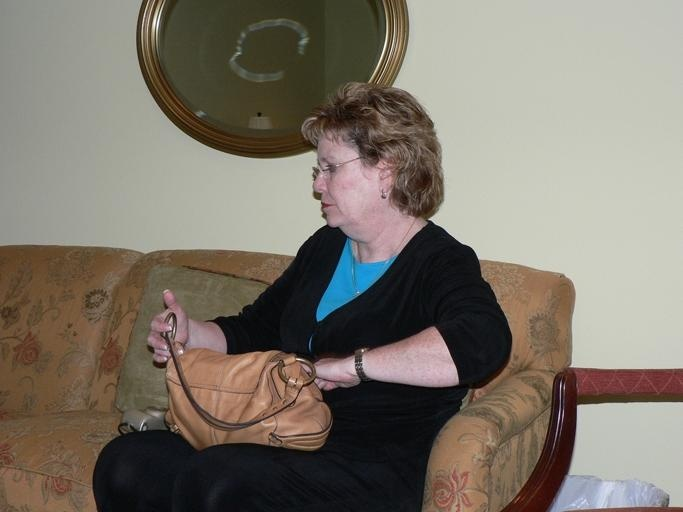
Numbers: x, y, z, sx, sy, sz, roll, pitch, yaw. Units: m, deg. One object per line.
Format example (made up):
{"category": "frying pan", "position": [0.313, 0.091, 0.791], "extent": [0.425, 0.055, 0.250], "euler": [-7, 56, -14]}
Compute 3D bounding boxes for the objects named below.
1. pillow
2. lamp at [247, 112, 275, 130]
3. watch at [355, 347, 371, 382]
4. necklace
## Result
{"category": "pillow", "position": [-0.539, 0.307, 2.159], "extent": [0.497, 0.491, 0.155], "euler": [-16, -20, 31]}
{"category": "lamp", "position": [-0.320, -0.530, 2.407], "extent": [0.071, 0.048, 0.077], "euler": [0, 5, 6]}
{"category": "watch", "position": [0.047, 0.278, 1.562], "extent": [0.040, 0.072, 0.072], "euler": [-2, 10, -5]}
{"category": "necklace", "position": [0.150, -0.004, 1.792], "extent": [0.147, 0.196, 0.048], "euler": [5, 2, 14]}
